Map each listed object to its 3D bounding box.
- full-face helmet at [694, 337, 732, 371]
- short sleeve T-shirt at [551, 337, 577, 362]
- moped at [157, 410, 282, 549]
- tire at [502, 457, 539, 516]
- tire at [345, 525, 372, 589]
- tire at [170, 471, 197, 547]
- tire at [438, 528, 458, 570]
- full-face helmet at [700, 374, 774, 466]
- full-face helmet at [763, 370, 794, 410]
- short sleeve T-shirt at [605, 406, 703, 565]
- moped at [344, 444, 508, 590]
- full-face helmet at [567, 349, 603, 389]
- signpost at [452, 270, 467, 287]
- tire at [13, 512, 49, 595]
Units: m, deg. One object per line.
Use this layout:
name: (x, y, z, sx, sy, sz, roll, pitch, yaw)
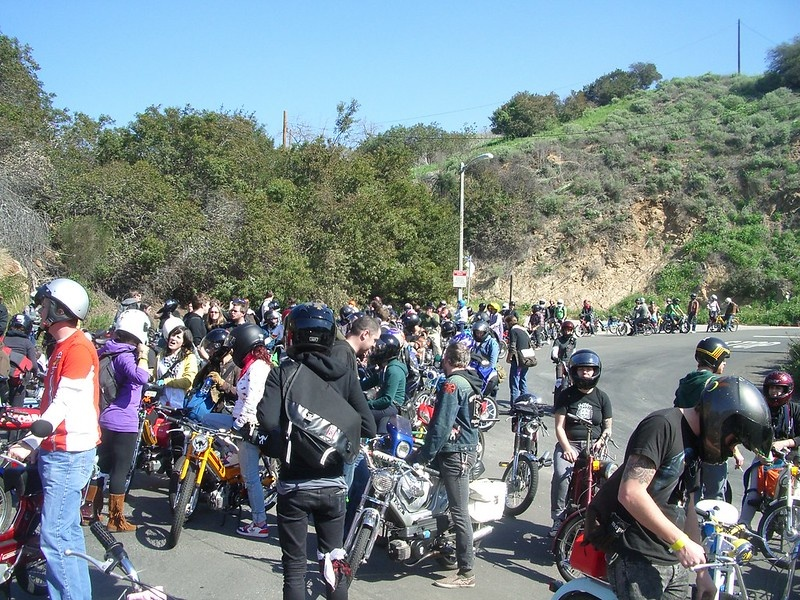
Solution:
full-face helmet: (3.616, 0.615, 8.909, 0.388, 0.472, 0.327, -2, 1, -23)
short sleeve T-shirt: (3.262, 0.972, 15.231, 0.703, 0.640, 0.254, 0, 3, -32)
moped: (-2.116, 2.005, 8.993, 0.637, 1.292, 2.018, 5, 1, 25)
tire: (1.513, 2.342, 9.635, 0.423, 0.506, 0.474, 8, 22, -18)
tire: (-0.420, 2.519, 7.571, 0.104, 0.610, 0.594, 10, -7, 10)
tire: (-2.404, 2.292, 8.464, 0.108, 0.775, 0.718, 11, -4, -1)
tire: (0.508, 2.617, 8.158, 0.156, 0.465, 0.435, -1, -15, 9)
full-face helmet: (2.549, 0.900, 5.821, 0.564, 0.694, 0.477, 8, 13, 31)
full-face helmet: (4.503, 1.047, 9.053, 0.320, 0.422, 0.419, -1, -8, 35)
short sleeve T-shirt: (1.918, 1.433, 5.927, 0.791, 1.193, 0.424, -1, -2, 16)
moped: (0.207, 2.137, 8.087, 2.297, 1.533, 0.973, 3, 7, -42)
full-face helmet: (2.118, 0.786, 8.790, 0.301, 0.422, 0.436, 0, -4, 9)
signpost: (2.148, -0.848, 29.300, 0.157, 0.715, 0.676, -3, -5, 44)
tire: (-3.521, 2.425, 7.275, 0.284, 0.836, 0.476, 1, -2, -25)
